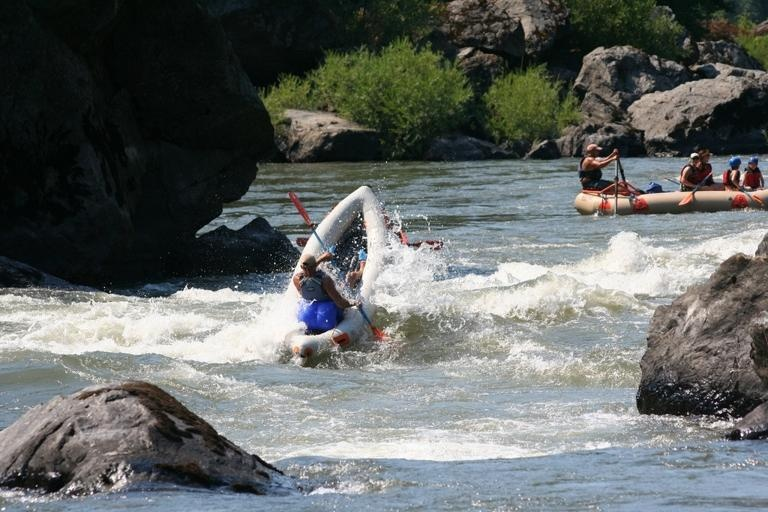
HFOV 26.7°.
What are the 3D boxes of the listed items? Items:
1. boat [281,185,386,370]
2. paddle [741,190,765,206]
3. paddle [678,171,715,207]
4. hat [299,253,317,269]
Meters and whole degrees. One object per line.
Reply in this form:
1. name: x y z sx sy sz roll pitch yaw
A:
1. boat: -0.739 0.560 34.643 1.495 0.778 4.530 0 37 19
2. paddle: 9.810 -1.486 42.630 0.126 0.192 0.903 28 11 -48
3. paddle: 8.418 -1.744 42.952 0.283 0.341 2.554 -31 -5 42
4. hat: -1.534 0.158 33.118 0.284 0.292 0.317 2 4 9
